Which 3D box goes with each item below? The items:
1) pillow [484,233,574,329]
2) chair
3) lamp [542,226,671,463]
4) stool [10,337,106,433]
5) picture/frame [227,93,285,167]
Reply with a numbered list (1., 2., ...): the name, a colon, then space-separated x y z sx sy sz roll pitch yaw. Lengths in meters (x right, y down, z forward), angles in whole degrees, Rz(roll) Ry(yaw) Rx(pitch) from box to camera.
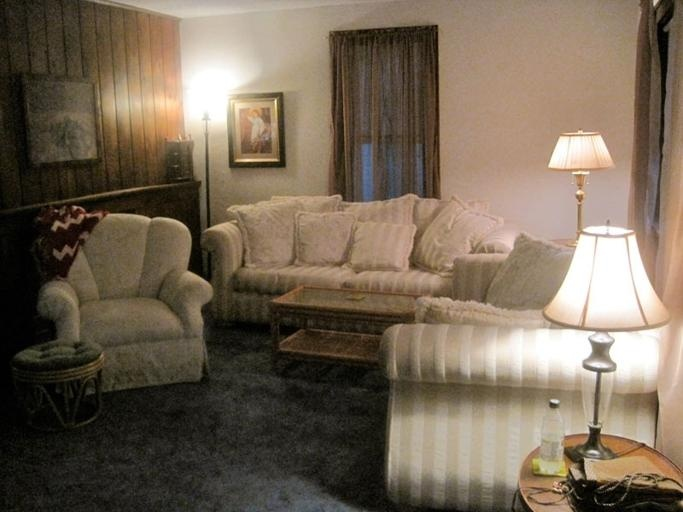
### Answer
1. pillow: 1.016 0.130 3.179 0.183 0.441 0.422 13 -7 -27
2. chair: -1.506 0.285 4.128 1.057 1.062 1.165 -3 9 -14
3. lamp: 1.008 0.314 2.299 0.415 0.860 0.347 -3 12 -20
4. stool: -1.657 0.737 3.493 0.474 0.458 0.521 -4 12 -23
5. picture/frame: -0.864 -1.336 6.095 0.705 0.833 0.063 3 12 13
